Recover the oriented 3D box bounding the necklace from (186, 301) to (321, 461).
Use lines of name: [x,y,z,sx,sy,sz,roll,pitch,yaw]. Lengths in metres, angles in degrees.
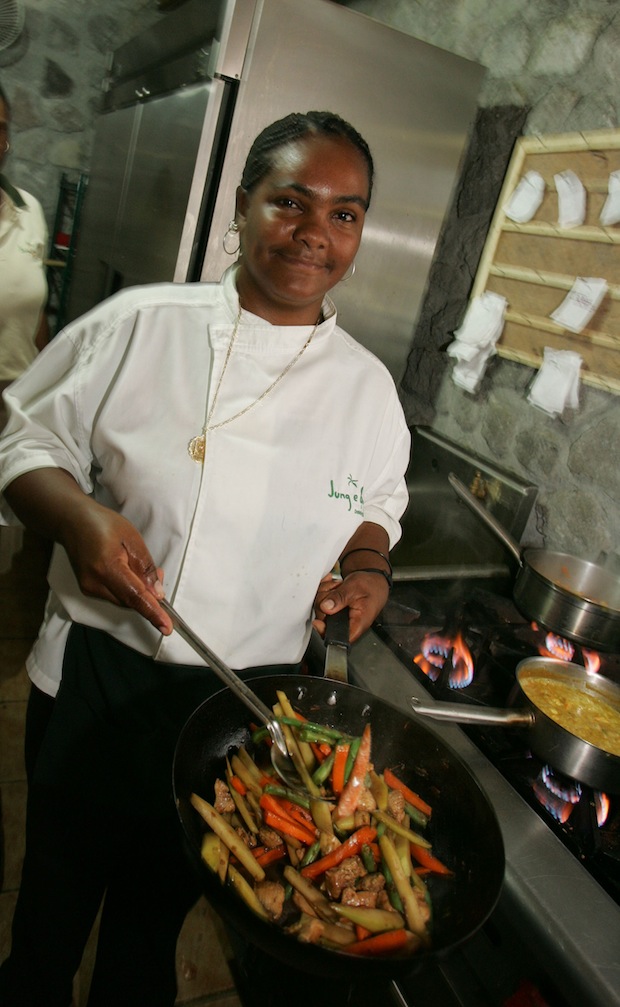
necklace: [-0.103,-0.174,1.106,0.097,0.314,0.014,25,-30,-8]
